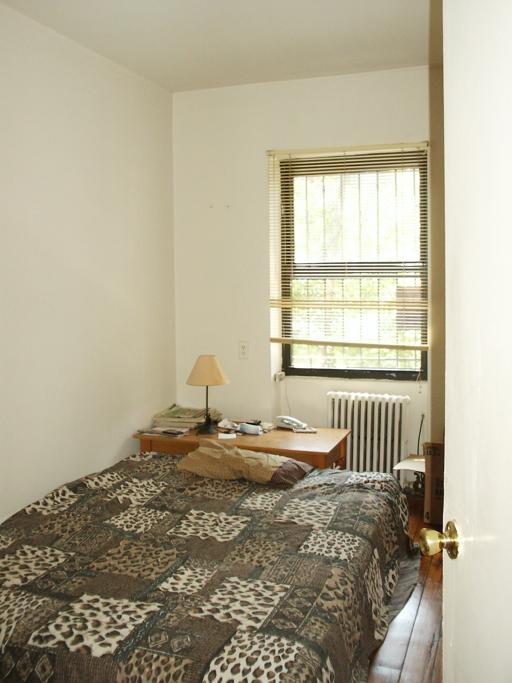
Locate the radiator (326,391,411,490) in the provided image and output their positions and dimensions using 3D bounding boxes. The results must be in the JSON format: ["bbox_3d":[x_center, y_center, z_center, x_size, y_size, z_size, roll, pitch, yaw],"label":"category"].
[{"bbox_3d":[0.733,0.616,3.446,0.647,0.751,0.128,1,3,12],"label":"radiator"}]

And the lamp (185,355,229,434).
[{"bbox_3d":[-0.308,0.301,3.450,0.225,0.462,0.486,0,6,-5],"label":"lamp"}]

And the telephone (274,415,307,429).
[{"bbox_3d":[0.222,0.490,3.389,0.151,0.053,0.084,0,4,26],"label":"telephone"}]

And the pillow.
[{"bbox_3d":[-0.072,0.591,2.607,0.393,0.082,0.246,5,9,17],"label":"pillow"}]
